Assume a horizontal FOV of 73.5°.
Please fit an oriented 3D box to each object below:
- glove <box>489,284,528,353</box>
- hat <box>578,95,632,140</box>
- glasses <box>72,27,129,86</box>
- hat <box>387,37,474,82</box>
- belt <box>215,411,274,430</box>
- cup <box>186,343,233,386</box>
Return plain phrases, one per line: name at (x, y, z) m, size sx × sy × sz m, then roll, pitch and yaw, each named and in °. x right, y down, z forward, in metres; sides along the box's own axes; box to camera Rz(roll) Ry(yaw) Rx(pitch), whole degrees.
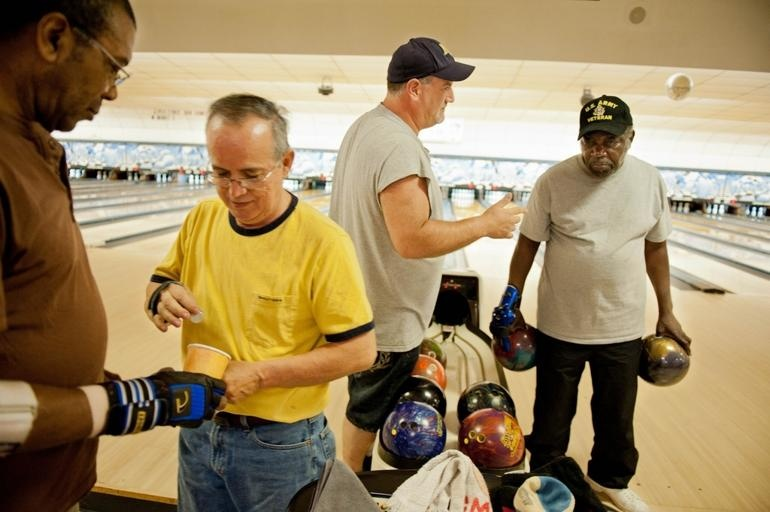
glove at (0.646, 0.300, 2.471) m, size 0.125 × 0.348 × 0.209 m, roll 18°, pitch 15°, yaw 39°
hat at (0.974, -0.613, 2.276) m, size 0.170 × 0.134 × 0.247 m, roll 4°, pitch 17°, yaw 39°
glasses at (-0.762, -0.523, 1.385) m, size 0.030 × 0.092 × 0.094 m, roll -39°, pitch 43°, yaw -26°
hat at (0.173, -0.746, 1.992) m, size 0.284 × 0.122 × 0.171 m, roll -5°, pitch 32°, yaw 10°
belt at (-0.432, 0.514, 1.613) m, size 0.101 × 0.022 × 0.097 m, roll 5°, pitch -10°, yaw 5°
cup at (-0.507, 0.313, 1.506) m, size 0.111 × 0.083 × 0.101 m, roll 17°, pitch -17°, yaw 5°
